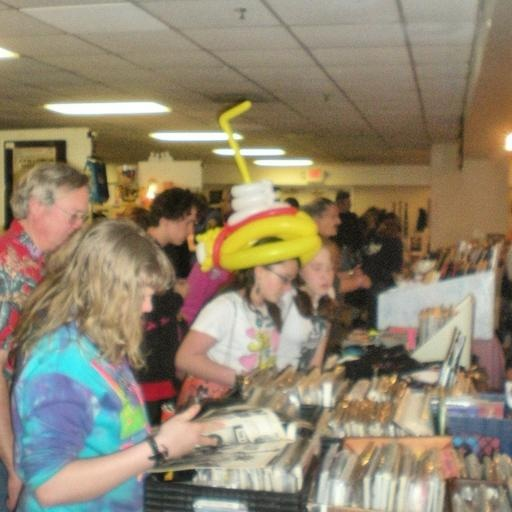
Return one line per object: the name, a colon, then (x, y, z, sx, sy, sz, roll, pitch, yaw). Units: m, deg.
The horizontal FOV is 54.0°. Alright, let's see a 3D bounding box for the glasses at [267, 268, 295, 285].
glasses: (0.100, 0.086, 2.234, 0.098, 0.028, 0.093, 34, 7, 17)
